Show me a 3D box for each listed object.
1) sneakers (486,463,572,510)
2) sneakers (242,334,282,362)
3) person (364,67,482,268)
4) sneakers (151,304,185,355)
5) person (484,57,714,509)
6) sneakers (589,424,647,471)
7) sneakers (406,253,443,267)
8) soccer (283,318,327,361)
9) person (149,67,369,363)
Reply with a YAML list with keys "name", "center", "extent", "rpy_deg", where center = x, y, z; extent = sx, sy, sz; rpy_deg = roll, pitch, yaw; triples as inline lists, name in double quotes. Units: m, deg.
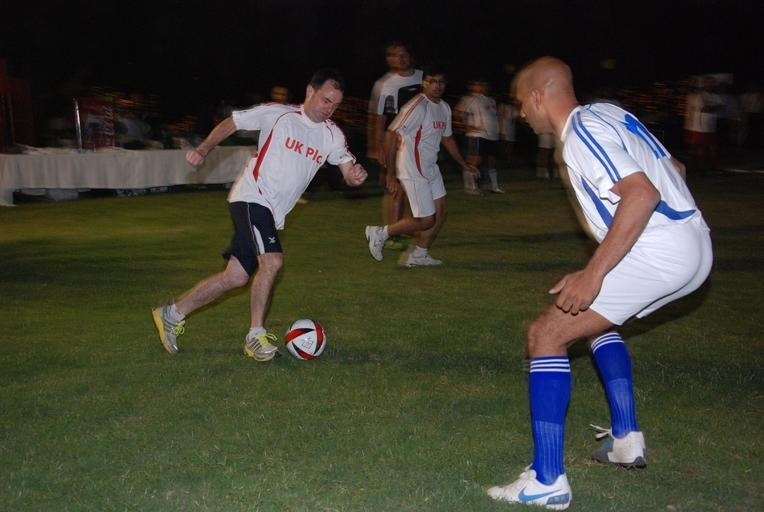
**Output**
- name: "sneakers"
  center: [0.760, 1.174, 2.779]
  extent: [0.491, 0.198, 0.164]
  rpy_deg: [2, -6, 17]
- name: "sneakers"
  center: [-0.919, 0.711, 4.213]
  extent: [0.366, 0.183, 0.149]
  rpy_deg: [2, 6, 34]
- name: "person"
  center: [0.389, -1.005, 6.504]
  extent: [1.098, 2.302, 0.582]
  rpy_deg: [-1, 12, 4]
- name: "sneakers"
  center: [-1.688, 0.592, 4.290]
  extent: [0.260, 0.366, 0.126]
  rpy_deg: [-16, 7, 6]
- name: "person"
  center: [1.067, 0.131, 2.702]
  extent: [1.026, 2.203, 0.597]
  rpy_deg: [-1, 12, 8]
- name: "sneakers"
  center: [1.274, 1.059, 3.104]
  extent: [0.165, 0.183, 0.440]
  rpy_deg: [-2, 0, -23]
- name: "sneakers"
  center: [0.527, 0.054, 6.755]
  extent: [0.421, 0.158, 0.162]
  rpy_deg: [-2, 11, -11]
- name: "soccer"
  center: [-0.603, 0.621, 4.293]
  extent: [0.321, 0.296, 0.305]
  rpy_deg: [-3, 10, -21]
- name: "person"
  center: [-0.909, -0.294, 4.221]
  extent: [1.550, 2.174, 0.534]
  rpy_deg: [-8, 13, -28]
